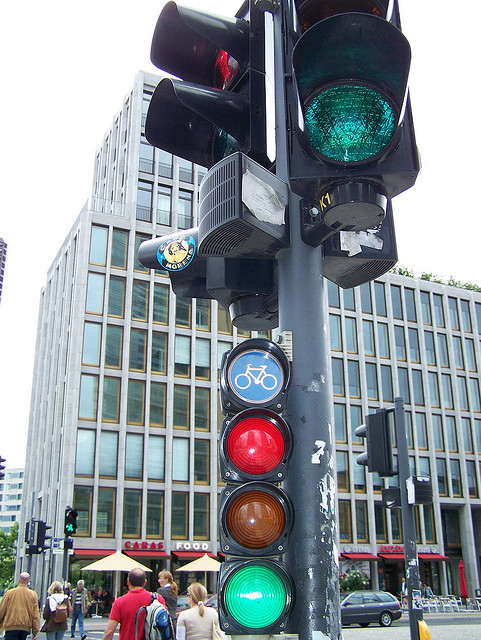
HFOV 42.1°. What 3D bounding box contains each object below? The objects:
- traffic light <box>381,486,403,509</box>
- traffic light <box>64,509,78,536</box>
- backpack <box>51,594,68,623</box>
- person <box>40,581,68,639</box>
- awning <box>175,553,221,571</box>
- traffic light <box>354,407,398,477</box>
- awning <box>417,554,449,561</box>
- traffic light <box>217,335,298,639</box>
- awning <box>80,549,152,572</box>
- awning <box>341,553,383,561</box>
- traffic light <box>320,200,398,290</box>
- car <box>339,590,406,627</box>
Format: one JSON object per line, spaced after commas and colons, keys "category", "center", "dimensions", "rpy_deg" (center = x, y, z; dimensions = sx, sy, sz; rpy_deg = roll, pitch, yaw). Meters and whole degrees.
{"category": "traffic light", "center": [2.345, 2.738, 9.690], "dimensions": [0.218, 0.304, 0.581], "rpy_deg": [2, -22, -5]}
{"category": "traffic light", "center": [-4.391, 5.194, 16.078], "dimensions": [0.285, 0.620, 1.100], "rpy_deg": [6, -23, -15]}
{"category": "backpack", "center": [-3.317, 5.311, 11.443], "dimensions": [0.325, 0.419, 0.446], "rpy_deg": [13, -40, -26]}
{"category": "person", "center": [-3.394, 5.328, 11.445], "dimensions": [0.442, 0.999, 1.262], "rpy_deg": [6, -23, -14]}
{"category": "awning", "center": [-1.763, 11.151, 28.805], "dimensions": [1.215, 0.617, 1.632], "rpy_deg": [-15, -26, 30]}
{"category": "traffic light", "center": [1.829, 1.627, 8.614], "dimensions": [0.556, 1.107, 1.459], "rpy_deg": [-6, -23, 12]}
{"category": "awning", "center": [14.344, 17.789, 46.893], "dimensions": [1.486, 0.437, 3.207], "rpy_deg": [-20, -29, 39]}
{"category": "traffic light", "center": [0.052, 0.513, 2.065], "dimensions": [0.265, 0.958, 0.134], "rpy_deg": [4, -24, -11]}
{"category": "awning", "center": [-5.698, 10.733, 27.900], "dimensions": [2.069, 0.889, 4.268], "rpy_deg": [4, -22, -10]}
{"category": "awning", "center": [8.408, 16.605, 43.902], "dimensions": [3.357, 0.502, 0.871], "rpy_deg": [16, -28, -35]}
{"category": "traffic light", "center": [0.589, -0.386, 3.237], "dimensions": [0.406, 0.506, 0.316], "rpy_deg": [-4, -43, 13]}
{"category": "car", "center": [5.114, 11.608, 25.133], "dimensions": [2.644, 1.311, 0.838], "rpy_deg": [8, -24, -20]}
